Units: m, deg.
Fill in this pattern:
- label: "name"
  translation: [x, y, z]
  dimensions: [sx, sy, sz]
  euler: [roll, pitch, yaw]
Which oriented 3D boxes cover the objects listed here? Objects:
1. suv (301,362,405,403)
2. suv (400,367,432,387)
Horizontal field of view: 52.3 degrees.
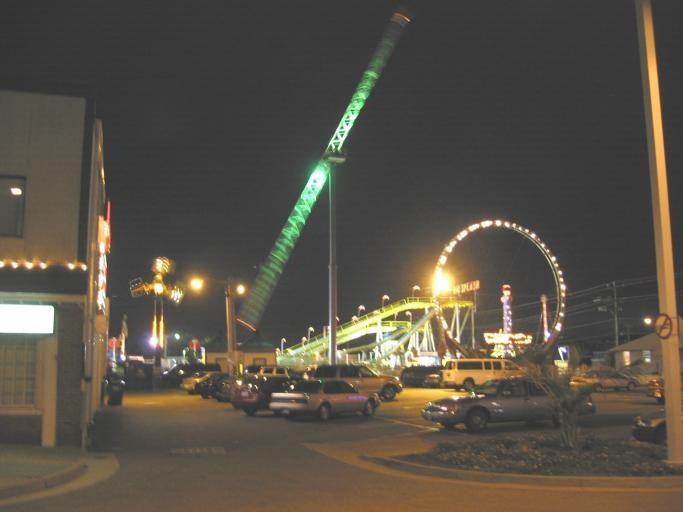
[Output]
- label: "suv"
  translation: [0.924, 6.180, 33.528]
  dimensions: [4.536, 1.896, 2.047]
  euler: [0, -3, -25]
- label: "suv"
  translation: [5.244, 8.559, 49.174]
  dimensions: [1.980, 1.002, 1.171]
  euler: [-4, 1, -27]
